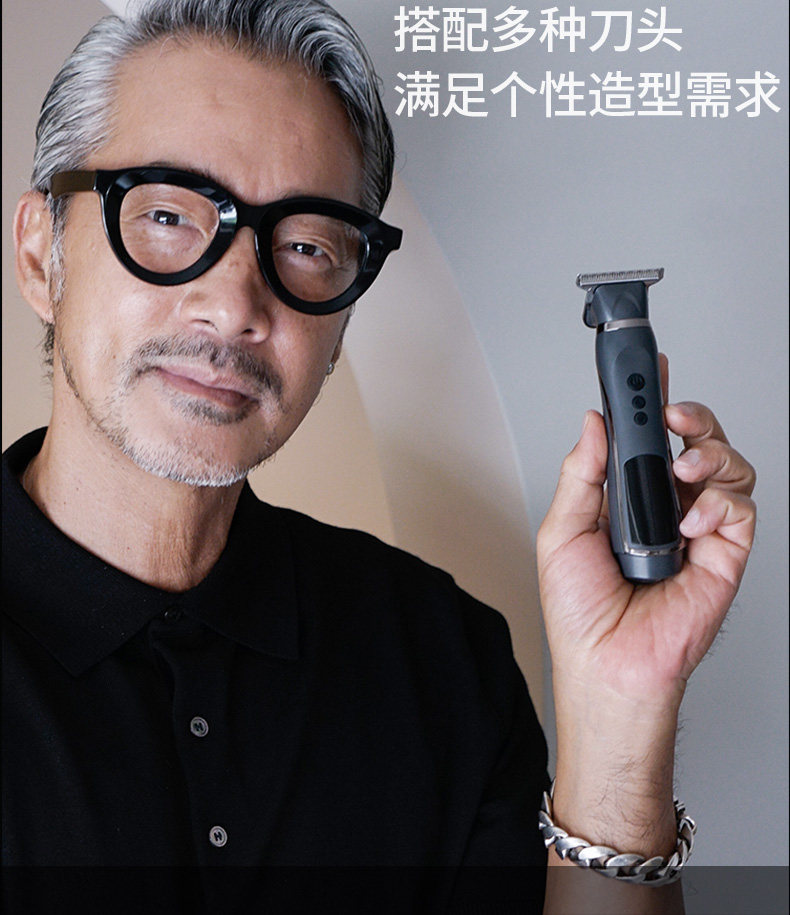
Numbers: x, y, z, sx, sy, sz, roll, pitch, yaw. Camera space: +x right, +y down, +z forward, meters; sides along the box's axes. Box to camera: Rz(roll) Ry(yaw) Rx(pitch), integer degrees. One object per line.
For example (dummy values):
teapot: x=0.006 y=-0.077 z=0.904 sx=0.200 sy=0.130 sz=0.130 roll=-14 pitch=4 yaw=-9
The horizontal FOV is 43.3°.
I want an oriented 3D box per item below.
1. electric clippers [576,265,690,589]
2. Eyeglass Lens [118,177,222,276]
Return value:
electric clippers: x=0.314 y=-0.036 z=1.315 sx=0.104 sy=0.416 sz=0.134 roll=-7 pitch=11 yaw=-35
Eyeglass Lens: x=-0.294 y=-0.300 z=1.285 sx=0.114 sy=0.113 sz=0.048 roll=6 pitch=-13 yaw=-5
